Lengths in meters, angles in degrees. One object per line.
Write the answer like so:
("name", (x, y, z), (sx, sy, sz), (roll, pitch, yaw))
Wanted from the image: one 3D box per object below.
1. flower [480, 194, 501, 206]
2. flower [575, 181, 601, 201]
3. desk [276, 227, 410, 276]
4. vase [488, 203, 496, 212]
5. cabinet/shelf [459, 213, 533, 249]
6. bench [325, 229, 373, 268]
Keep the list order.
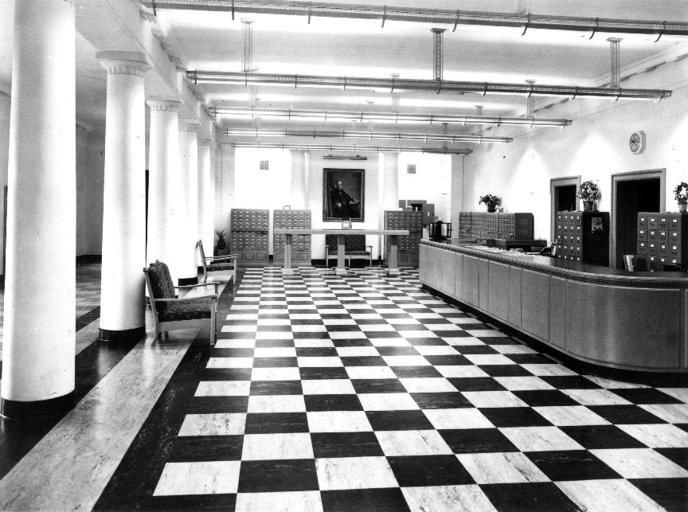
("flower", (4.505, -1.689, 16.725), (0.406, 0.287, 0.433), (2, 1, -5))
("flower", (5.539, -1.471, 12.441), (0.410, 0.509, 0.420), (5, 9, 27))
("desk", (-0.063, -0.179, 16.229), (3.877, 1.431, 1.083), (0, 12, 1))
("vase", (4.523, -1.520, 16.752), (0.247, 0.320, 0.278), (-2, 7, -8))
("cabinet/shelf", (4.345, -0.797, 15.979), (1.842, 0.991, 0.328), (2, -3, 18))
("bench", (0.131, -0.158, 17.869), (1.542, 1.183, 0.955), (1, -1, -19))
